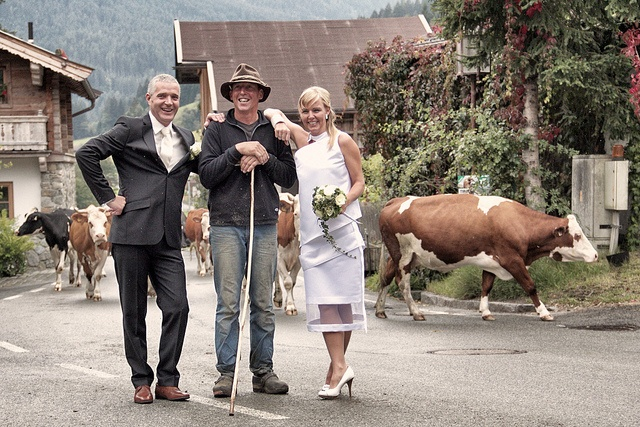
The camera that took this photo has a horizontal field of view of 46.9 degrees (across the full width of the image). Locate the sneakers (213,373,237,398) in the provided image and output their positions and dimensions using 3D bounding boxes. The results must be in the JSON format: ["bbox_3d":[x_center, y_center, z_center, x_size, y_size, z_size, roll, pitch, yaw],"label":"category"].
[{"bbox_3d":[-1.160,2.139,9.113,0.239,0.282,0.645,0,-13,-2],"label":"sneakers"}]

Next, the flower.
[{"bbox_3d":[0.159,0.025,9.466,0.394,0.590,0.834,-30,-18,14],"label":"flower"}]

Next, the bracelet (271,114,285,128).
[{"bbox_3d":[-0.533,-1.213,9.462,0.161,0.125,0.166,-4,-26,-7],"label":"bracelet"}]

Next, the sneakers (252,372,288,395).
[{"bbox_3d":[-0.630,2.148,9.296,0.465,0.218,0.210,-6,-5,42],"label":"sneakers"}]

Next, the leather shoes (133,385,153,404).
[{"bbox_3d":[-2.148,2.218,8.978,0.146,0.156,0.381,0,-8,-14],"label":"leather shoes"}]

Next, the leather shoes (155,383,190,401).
[{"bbox_3d":[-1.821,2.220,9.140,0.434,0.188,0.169,0,-5,19],"label":"leather shoes"}]

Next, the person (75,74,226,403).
[{"bbox_3d":[-2.134,0.264,9.191,1.308,4.074,0.699,-2,3,-10],"label":"person"}]
